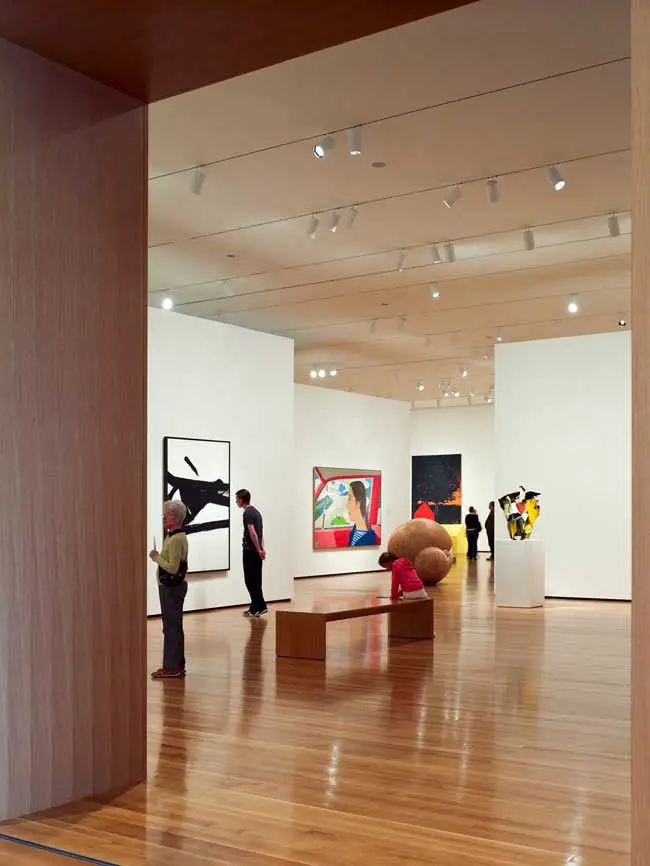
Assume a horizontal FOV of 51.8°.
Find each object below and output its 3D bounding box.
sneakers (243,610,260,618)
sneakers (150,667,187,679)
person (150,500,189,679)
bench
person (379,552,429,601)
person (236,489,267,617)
[{"bbox_3d":[-1.092,2.665,9.821,0.264,0.119,0.097,0,-2,15],"label":"sneakers"},{"bbox_3d":[-1.416,2.197,6.053,0.282,0.104,0.113,7,-9,-3],"label":"sneakers"},{"bbox_3d":[-1.439,1.429,6.190,0.326,1.625,0.757,1,-2,-12],"label":"person"},{"bbox_3d":[0.325,2.220,7.634,0.876,0.619,2.066,-1,-3,43],"label":"bench"},{"bbox_3d":[0.938,1.803,8.373,0.524,0.545,0.841,1,-2,-12],"label":"person"},{"bbox_3d":[-1.074,1.776,9.777,0.446,1.881,0.772,1,-2,-5],"label":"person"}]
